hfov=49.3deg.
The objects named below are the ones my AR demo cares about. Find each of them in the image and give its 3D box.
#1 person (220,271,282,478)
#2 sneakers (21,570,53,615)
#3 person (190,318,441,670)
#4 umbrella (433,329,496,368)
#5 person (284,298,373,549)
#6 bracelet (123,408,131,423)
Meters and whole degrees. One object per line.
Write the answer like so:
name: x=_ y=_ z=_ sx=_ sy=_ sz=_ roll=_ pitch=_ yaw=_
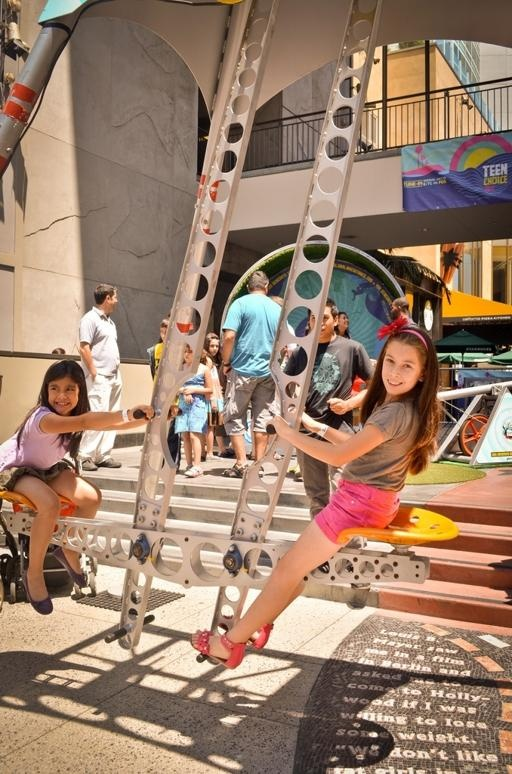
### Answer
person: x=-0.088 y=-0.174 z=6.308 sx=0.747 sy=2.217 sz=0.602 roll=3 pitch=-1 yaw=-37
sneakers: x=-1.098 y=1.045 z=2.859 sx=0.168 sy=0.231 sz=0.129 roll=-3 pitch=-6 yaw=16
person: x=0.236 y=0.442 z=2.283 sx=0.892 sy=1.522 sz=0.446 roll=14 pitch=-1 yaw=9
umbrella: x=5.484 y=-1.023 z=14.258 sx=1.631 sy=0.902 sz=1.711 roll=1 pitch=3 yaw=10
person: x=0.495 y=0.273 z=3.831 sx=0.576 sy=1.720 sz=0.499 roll=3 pitch=17 yaw=23
bracelet: x=-0.589 y=0.134 z=2.549 sx=0.037 sy=0.052 sz=0.030 roll=-1 pitch=-5 yaw=39
